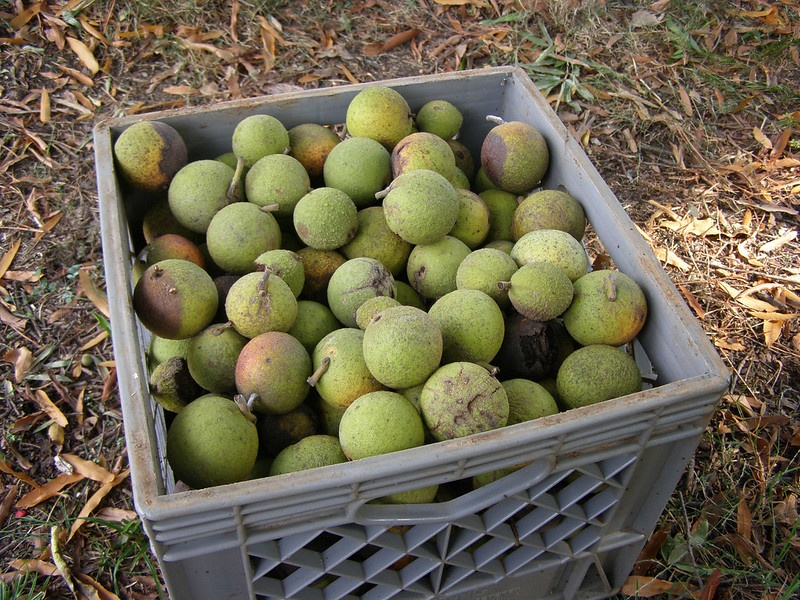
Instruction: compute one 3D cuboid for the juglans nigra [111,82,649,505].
[{"bbox_3d":[-0.094,-0.034,2.812,1.724,0.747,1.767,-12,58,-8],"label":"juglans nigra"}]
